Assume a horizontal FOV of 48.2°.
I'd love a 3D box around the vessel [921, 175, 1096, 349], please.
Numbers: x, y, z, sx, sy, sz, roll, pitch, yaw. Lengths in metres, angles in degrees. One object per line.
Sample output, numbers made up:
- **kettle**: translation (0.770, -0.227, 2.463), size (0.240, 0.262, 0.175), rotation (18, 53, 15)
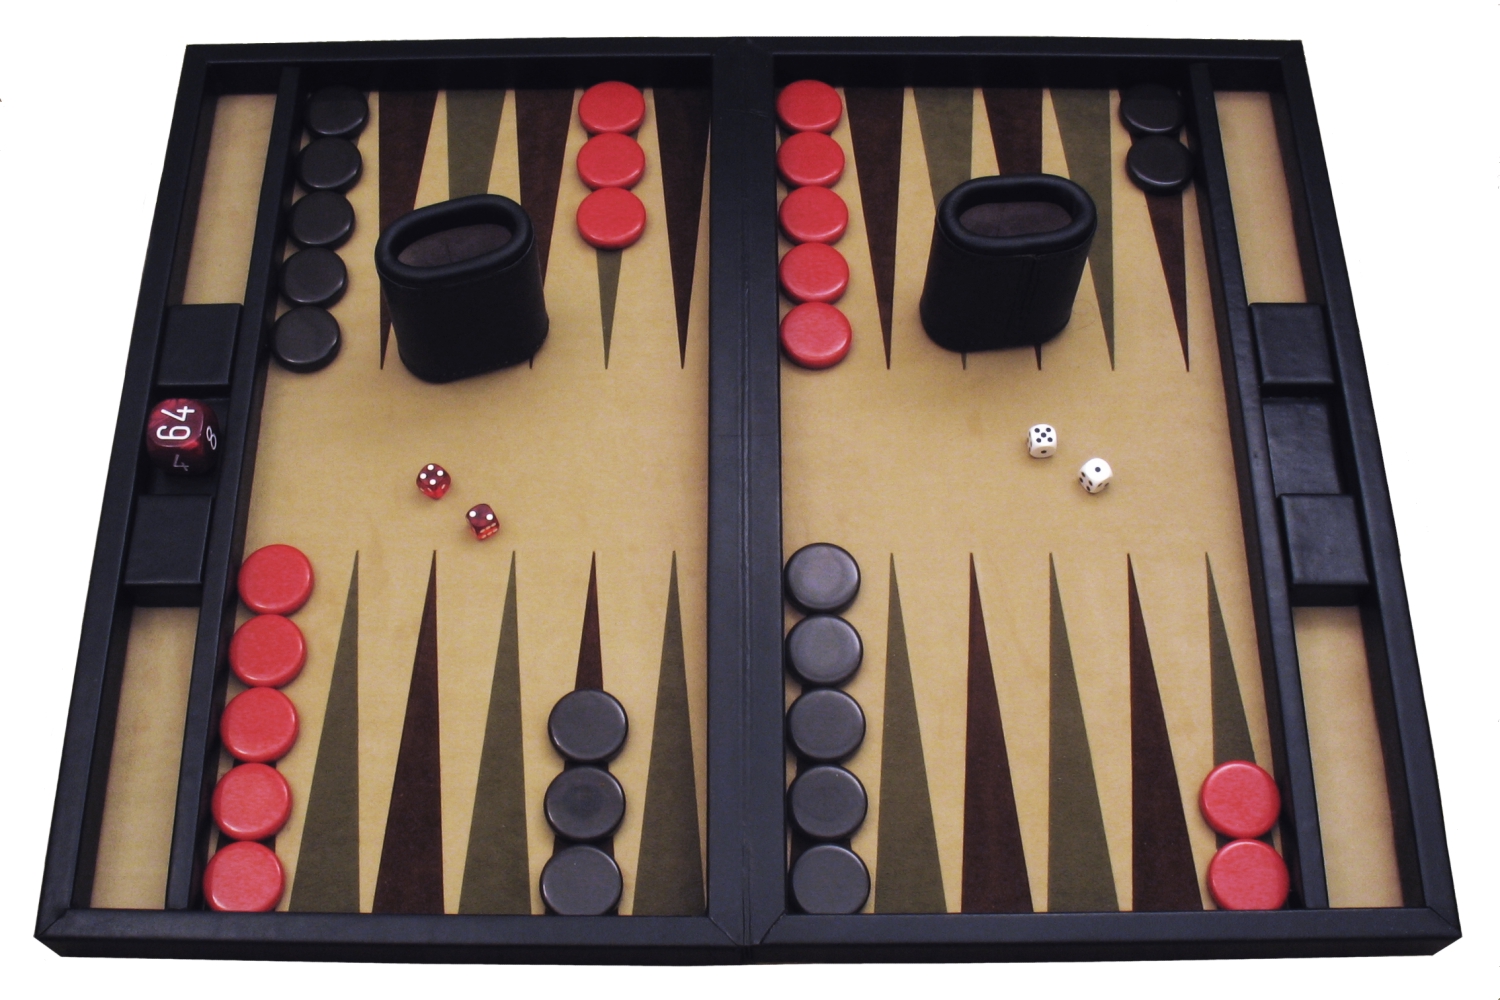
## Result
- **vessel**: translation (1.063, -1.001, 7.094), size (0.726, 0.428, 0.694), rotation (-7, -31, -11)
